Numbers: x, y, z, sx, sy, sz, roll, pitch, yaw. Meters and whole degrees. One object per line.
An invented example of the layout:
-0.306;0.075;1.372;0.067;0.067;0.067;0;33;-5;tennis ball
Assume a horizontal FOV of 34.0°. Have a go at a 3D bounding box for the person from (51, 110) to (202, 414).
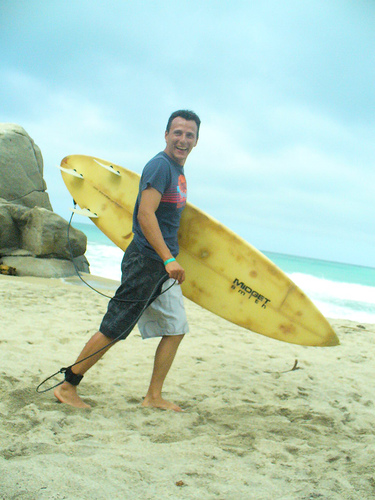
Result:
-0.140;0.088;3.619;0.727;1.807;0.681;19;0;-2;person
